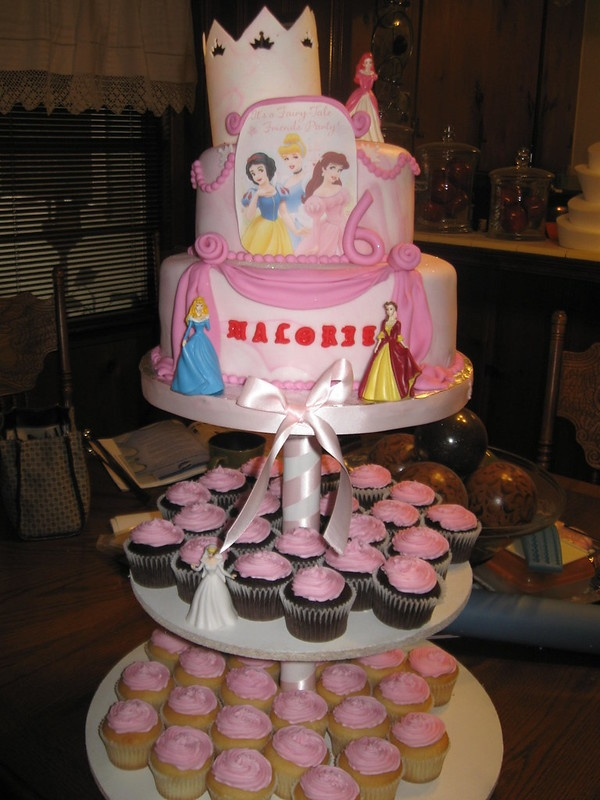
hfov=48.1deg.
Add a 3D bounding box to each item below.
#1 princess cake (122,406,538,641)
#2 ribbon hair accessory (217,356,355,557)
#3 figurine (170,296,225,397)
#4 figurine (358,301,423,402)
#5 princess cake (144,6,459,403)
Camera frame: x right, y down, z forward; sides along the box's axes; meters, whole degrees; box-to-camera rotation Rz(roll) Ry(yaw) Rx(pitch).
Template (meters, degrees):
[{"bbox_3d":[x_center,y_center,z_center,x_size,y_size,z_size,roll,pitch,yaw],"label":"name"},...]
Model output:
[{"bbox_3d":[0.072,0.222,1.169,0.397,0.103,0.439,-1,14,-3],"label":"princess cake"},{"bbox_3d":[-0.013,0.091,0.932,0.152,0.269,0.169,-17,29,-34],"label":"ribbon hair accessory"},{"bbox_3d":[-0.134,-0.071,0.938,0.062,0.130,0.078,-9,30,-22],"label":"figurine"},{"bbox_3d":[0.124,-0.065,0.915,0.085,0.128,0.075,-1,16,4],"label":"figurine"},{"bbox_3d":[-0.012,-0.271,1.068,0.446,0.590,0.244,-2,31,-14],"label":"princess cake"}]
